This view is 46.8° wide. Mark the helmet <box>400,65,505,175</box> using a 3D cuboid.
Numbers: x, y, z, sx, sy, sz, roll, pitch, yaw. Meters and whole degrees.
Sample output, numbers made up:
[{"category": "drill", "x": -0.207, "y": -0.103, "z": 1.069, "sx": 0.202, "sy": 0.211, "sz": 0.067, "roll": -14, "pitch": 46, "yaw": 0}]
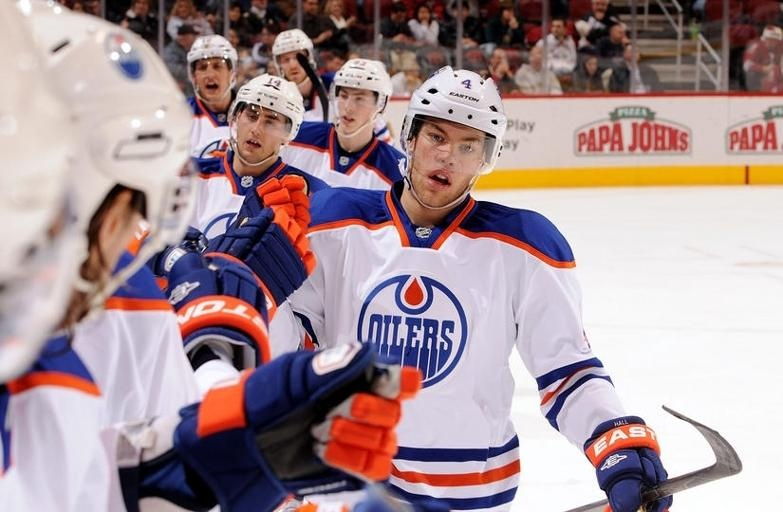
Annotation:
[{"category": "helmet", "x": 0.210, "y": -0.423, "z": 2.933, "sx": 0.266, "sy": 0.340, "sz": 0.343, "roll": 19, "pitch": 9, "yaw": 1}]

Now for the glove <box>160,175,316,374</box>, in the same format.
[{"category": "glove", "x": -0.356, "y": 0.032, "z": 2.164, "sx": 0.369, "sy": 0.186, "sz": 0.456, "roll": 2, "pitch": 36, "yaw": -3}]

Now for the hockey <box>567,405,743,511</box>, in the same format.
[{"category": "hockey", "x": 0.823, "y": 0.643, "z": 2.826, "sx": 0.839, "sy": 0.124, "sz": 0.101, "roll": -34, "pitch": 19, "yaw": 47}]

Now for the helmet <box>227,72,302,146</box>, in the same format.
[{"category": "helmet", "x": -0.661, "y": -0.802, "z": 4.926, "sx": 0.313, "sy": 0.376, "sz": 0.371, "roll": 20, "pitch": 7, "yaw": -2}]

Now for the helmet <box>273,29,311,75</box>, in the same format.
[{"category": "helmet", "x": -0.798, "y": -1.681, "z": 7.468, "sx": 0.262, "sy": 0.383, "sz": 0.363, "roll": -9, "pitch": 6, "yaw": 0}]

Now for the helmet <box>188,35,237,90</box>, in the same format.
[{"category": "helmet", "x": -1.320, "y": -1.453, "z": 6.608, "sx": 0.304, "sy": 0.377, "sz": 0.389, "roll": -1, "pitch": -15, "yaw": -1}]

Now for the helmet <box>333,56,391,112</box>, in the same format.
[{"category": "helmet", "x": -0.171, "y": -1.093, "z": 5.817, "sx": 0.273, "sy": 0.357, "sz": 0.350, "roll": 5, "pitch": 7, "yaw": 11}]
